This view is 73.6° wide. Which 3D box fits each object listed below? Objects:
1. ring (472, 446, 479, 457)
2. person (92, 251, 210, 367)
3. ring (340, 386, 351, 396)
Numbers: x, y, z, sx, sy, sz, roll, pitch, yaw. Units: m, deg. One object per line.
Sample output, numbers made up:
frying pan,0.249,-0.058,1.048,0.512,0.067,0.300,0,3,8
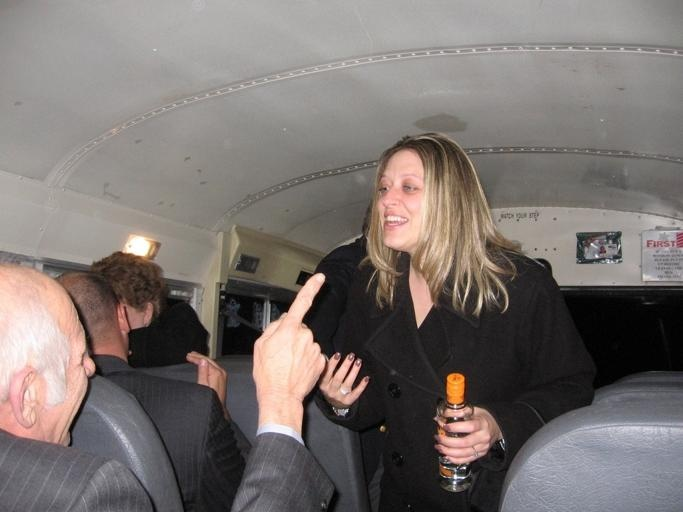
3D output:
ring,0.458,0.672,1.563,0.010,0.036,0.026,-15,3,-13
person,-1.439,0.395,3.443,0.494,0.610,0.924,22,-6,31
ring,0.018,0.555,1.879,0.044,0.034,0.047,-1,15,0
